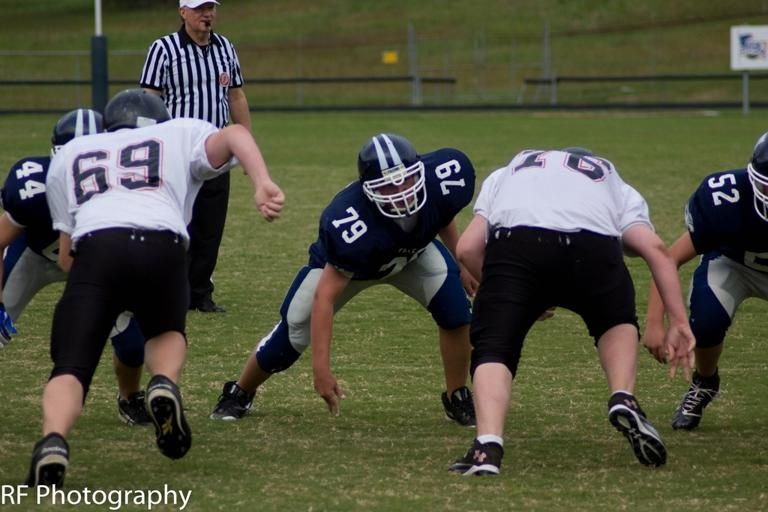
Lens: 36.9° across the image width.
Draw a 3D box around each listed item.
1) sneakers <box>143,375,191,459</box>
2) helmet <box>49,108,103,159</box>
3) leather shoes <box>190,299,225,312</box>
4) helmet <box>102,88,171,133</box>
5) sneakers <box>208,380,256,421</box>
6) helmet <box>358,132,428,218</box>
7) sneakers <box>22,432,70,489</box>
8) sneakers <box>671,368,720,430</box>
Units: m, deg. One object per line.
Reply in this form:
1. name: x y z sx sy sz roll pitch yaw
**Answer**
1. sneakers: -1.019 0.761 5.556 0.171 0.416 0.198 -22 24 -14
2. helmet: -1.657 -0.655 6.224 0.259 0.244 0.307 0 17 -13
3. leather shoes: -1.193 0.330 7.757 0.271 0.099 0.085 0 7 -5
4. helmet: -1.256 -0.723 5.884 0.305 0.225 0.220 -22 3 0
5. sneakers: -0.816 0.792 6.332 0.117 0.136 0.319 34 12 6
6. helmet: 0.048 -0.430 6.032 0.354 0.360 0.439 -19 41 -3
7. sneakers: -1.544 0.947 5.301 0.127 0.306 0.137 8 31 -17
8. sneakers: 1.657 0.774 6.181 0.146 0.412 0.192 32 -3 25
